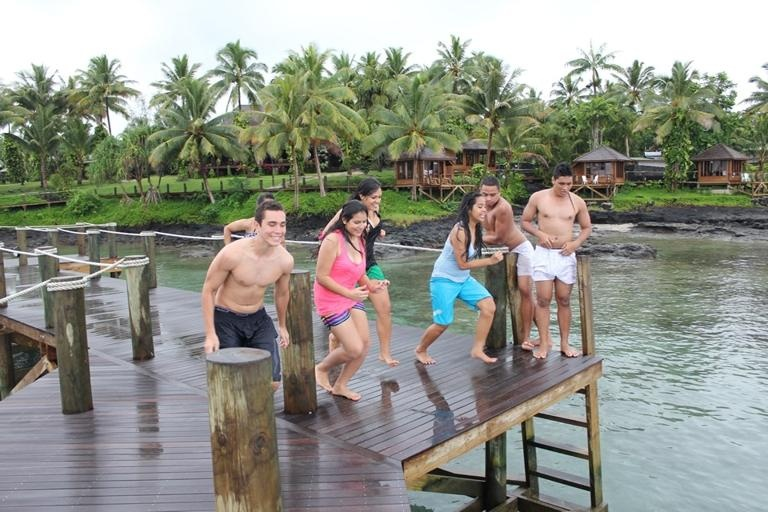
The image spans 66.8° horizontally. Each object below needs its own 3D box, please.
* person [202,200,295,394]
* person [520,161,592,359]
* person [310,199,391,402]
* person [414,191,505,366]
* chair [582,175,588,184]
[{"bbox_3d":[-1.493,0.491,6.427,0.967,2.194,0.680,-3,5,-11],"label":"person"},{"bbox_3d":[2.315,0.062,7.914,0.801,2.594,0.828,2,6,32],"label":"person"},{"bbox_3d":[-0.492,0.540,6.799,0.634,2.333,0.595,-2,5,0],"label":"person"},{"bbox_3d":[0.986,0.307,7.607,1.040,2.280,0.602,-1,5,3],"label":"person"},{"bbox_3d":[15.547,-5.947,45.208,0.553,0.620,0.557,-11,8,-6],"label":"chair"}]
